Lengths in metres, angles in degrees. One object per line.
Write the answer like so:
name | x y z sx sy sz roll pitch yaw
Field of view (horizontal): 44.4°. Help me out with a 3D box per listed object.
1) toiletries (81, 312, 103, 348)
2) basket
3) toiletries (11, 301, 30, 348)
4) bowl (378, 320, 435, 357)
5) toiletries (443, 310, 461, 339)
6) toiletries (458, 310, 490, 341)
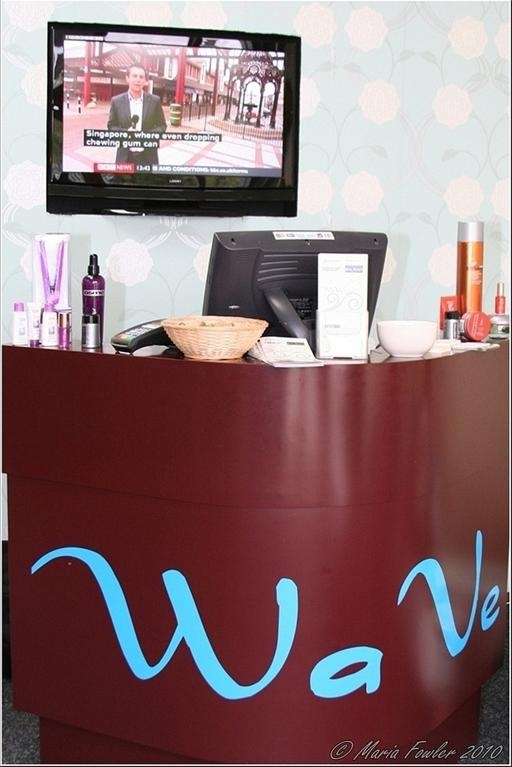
toiletries | -0.387 -0.120 1.478 0.045 0.078 0.112 0 13 -15
basket | -0.086 -0.099 1.377 0.214 0.087 0.247 7 13 16
toiletries | -0.574 -0.146 1.530 0.038 0.097 0.051 -2 13 -22
bowl | 0.345 -0.102 1.446 0.096 0.060 0.097 -3 7 0
toiletries | 0.563 -0.163 1.781 0.051 0.080 0.150 7 13 17
toiletries | 0.671 -0.170 1.865 0.171 0.086 0.077 -8 17 -41
